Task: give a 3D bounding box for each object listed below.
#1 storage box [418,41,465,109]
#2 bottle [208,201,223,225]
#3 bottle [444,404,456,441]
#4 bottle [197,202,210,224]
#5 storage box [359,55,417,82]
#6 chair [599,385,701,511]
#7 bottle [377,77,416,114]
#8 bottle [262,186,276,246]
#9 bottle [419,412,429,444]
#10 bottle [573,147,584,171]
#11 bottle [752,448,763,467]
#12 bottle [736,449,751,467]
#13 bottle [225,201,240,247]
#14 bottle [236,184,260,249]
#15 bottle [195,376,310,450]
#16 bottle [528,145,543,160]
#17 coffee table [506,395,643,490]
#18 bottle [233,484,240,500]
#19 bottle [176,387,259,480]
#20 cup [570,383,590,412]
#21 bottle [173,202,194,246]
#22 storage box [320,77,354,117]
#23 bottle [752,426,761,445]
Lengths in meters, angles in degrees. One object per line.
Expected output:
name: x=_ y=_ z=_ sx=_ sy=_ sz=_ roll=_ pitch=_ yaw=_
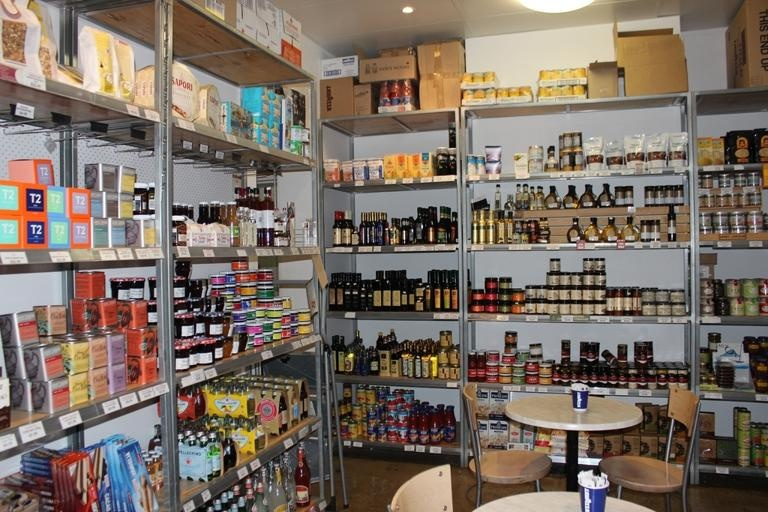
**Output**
storage box: x=0.525 y=-1.684 z=5.645 sx=0.414 sy=0.634 sz=0.221 roll=-2 pitch=0 yaw=3
bottle: x=-1.100 y=-0.280 z=3.904 sx=0.059 sy=0.117 sz=0.099 roll=-2 pitch=0 yaw=5
bottle: x=0.606 y=1.560 z=5.622 sx=0.106 sy=0.328 sz=0.196 roll=-2 pitch=0 yaw=5
bottle: x=-1.160 y=-0.273 z=3.857 sx=0.068 sy=0.119 sz=0.103 roll=-2 pitch=0 yaw=-17
storage box: x=0.025 y=-1.764 z=5.679 sx=0.404 sy=0.139 sz=0.283 roll=0 pitch=2 yaw=22
chair: x=1.805 y=1.368 z=4.150 sx=0.646 sy=0.893 sz=0.495 roll=-2 pitch=0 yaw=7
bottle: x=0.120 y=-1.487 z=5.726 sx=0.349 sy=0.328 sz=0.337 roll=3 pitch=8 yaw=20
bottle: x=-0.827 y=-0.275 z=4.275 sx=0.088 sy=0.377 sz=0.214 roll=-2 pitch=0 yaw=-9
bottle: x=0.367 y=1.583 z=5.510 sx=0.100 sy=0.266 sz=0.058 roll=-2 pitch=0 yaw=2
bottle: x=1.760 y=-0.867 z=5.415 sx=0.057 sy=0.216 sz=0.174 roll=-2 pitch=0 yaw=37
bottle: x=3.104 y=1.665 z=5.000 sx=0.087 sy=0.182 sz=0.030 roll=-2 pitch=0 yaw=-2
bottle: x=2.983 y=1.694 z=5.025 sx=0.112 sy=0.124 sz=0.112 roll=-3 pitch=-10 yaw=24
bottle: x=-0.995 y=-0.207 z=3.957 sx=0.071 sy=0.250 sz=0.153 roll=-2 pitch=0 yaw=14
bottle: x=-0.936 y=-0.270 z=4.114 sx=0.153 sy=0.371 sz=0.373 roll=-2 pitch=0 yaw=-13
bottle: x=-0.926 y=1.017 z=4.114 sx=0.476 sy=0.203 sz=0.492 roll=-1 pitch=1 yaw=0
bottle: x=1.387 y=-0.947 z=5.534 sx=0.134 sy=0.147 sz=0.132 roll=-3 pitch=7 yaw=-45
coffee table: x=1.313 y=1.284 z=4.298 sx=0.779 sy=0.831 sz=0.795 roll=1 pitch=4 yaw=6
bottle: x=-0.956 y=1.538 z=3.901 sx=0.073 sy=0.071 sz=0.072 roll=1 pitch=-1 yaw=-4
bottle: x=-1.067 y=1.132 z=3.856 sx=0.489 sy=0.179 sz=0.466 roll=0 pitch=1 yaw=0
cup: x=1.360 y=0.973 z=4.199 sx=0.105 sy=0.191 sz=0.203 roll=-2 pitch=0 yaw=15
bottle: x=-1.203 y=-0.190 z=3.650 sx=0.106 sy=0.210 sz=0.206 roll=-2 pitch=0 yaw=11
storage box: x=-0.459 y=-1.534 z=5.999 sx=0.394 sy=0.369 sz=0.375 roll=3 pitch=-2 yaw=12
bottle: x=3.104 y=1.499 z=5.025 sx=0.072 sy=0.180 sz=0.047 roll=-2 pitch=0 yaw=-22
